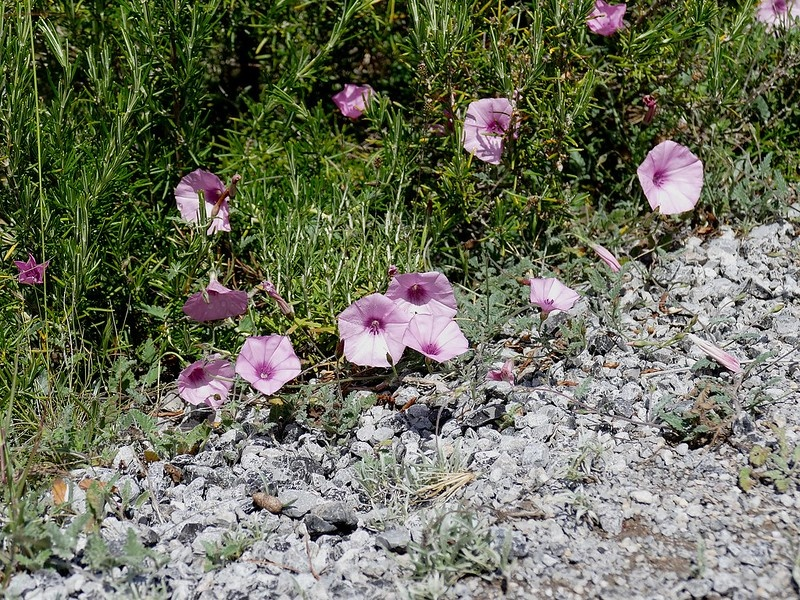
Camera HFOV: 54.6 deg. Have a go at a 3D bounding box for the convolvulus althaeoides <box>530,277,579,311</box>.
[{"bbox_3d":[0.543,-0.019,2.762,0.118,0.057,0.139,-9,55,-20],"label":"convolvulus althaeoides"}]

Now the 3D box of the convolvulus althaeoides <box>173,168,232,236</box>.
[{"bbox_3d":[-0.766,-0.399,2.995,0.200,0.272,0.245,-9,50,-16],"label":"convolvulus althaeoides"}]

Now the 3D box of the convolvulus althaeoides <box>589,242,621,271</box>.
[{"bbox_3d":[0.810,-0.174,3.091,0.228,0.064,0.055,19,24,-45],"label":"convolvulus althaeoides"}]

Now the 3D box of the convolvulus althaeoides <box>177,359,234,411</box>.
[{"bbox_3d":[-0.705,0.334,2.836,0.200,0.266,0.155,-6,49,-13],"label":"convolvulus althaeoides"}]

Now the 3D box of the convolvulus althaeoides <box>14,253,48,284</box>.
[{"bbox_3d":[-1.354,-0.103,2.828,0.111,0.063,0.123,4,76,-24],"label":"convolvulus althaeoides"}]

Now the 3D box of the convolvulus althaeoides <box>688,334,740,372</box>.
[{"bbox_3d":[1.090,0.188,2.695,0.150,0.038,0.041,43,80,15],"label":"convolvulus althaeoides"}]

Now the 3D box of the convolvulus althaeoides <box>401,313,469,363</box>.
[{"bbox_3d":[0.124,0.137,2.688,0.170,0.086,0.183,-6,51,-15],"label":"convolvulus althaeoides"}]
